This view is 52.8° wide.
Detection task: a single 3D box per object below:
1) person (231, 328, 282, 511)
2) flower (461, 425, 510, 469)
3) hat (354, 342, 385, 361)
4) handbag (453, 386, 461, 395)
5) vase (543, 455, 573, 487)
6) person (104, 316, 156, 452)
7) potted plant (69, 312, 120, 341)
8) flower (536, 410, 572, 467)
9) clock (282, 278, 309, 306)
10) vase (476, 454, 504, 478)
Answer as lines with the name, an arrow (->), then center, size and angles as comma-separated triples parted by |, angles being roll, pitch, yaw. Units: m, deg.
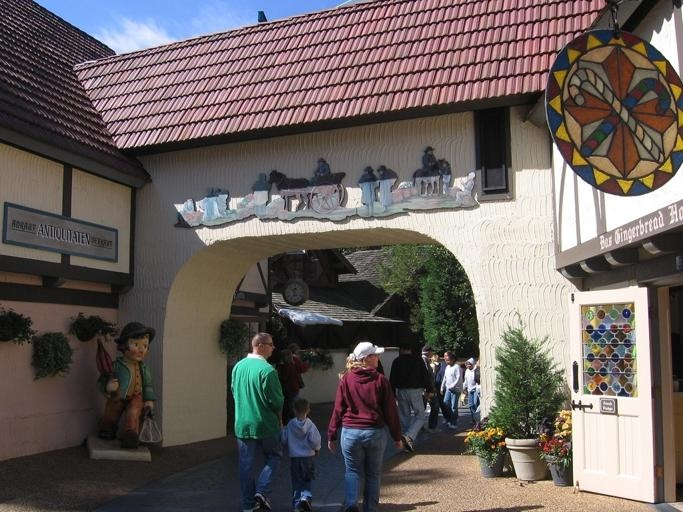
person -> -1.135, 2.181, 9.103 | 0.676, 2.312, 0.437 | 2, -5, -7
flower -> 2.313, 3.010, 11.047 | 0.563, 0.689, 0.591 | 0, -10, 2
hat -> 0.337, 1.255, 8.888 | 0.320, 0.207, 0.220 | -9, 1, -19
handbag -> 2.801, 3.239, 16.649 | 0.166, 0.165, 0.195 | -1, -6, 10
vase -> 3.294, 3.240, 10.413 | 0.349, 0.350, 0.394 | -1, -5, 10
person -> -3.856, 2.290, 12.447 | 0.917, 2.169, 0.709 | 4, -6, -22
potted plant -> -4.650, 1.291, 12.648 | 0.469, 0.379, 0.519 | 4, 4, 22
flower -> 3.333, 2.774, 10.468 | 0.596, 0.575, 0.637 | -11, -4, -22
clock -> -1.634, 1.215, 23.333 | 0.686, 0.810, 0.261 | 23, 0, 16
vase -> 2.372, 3.333, 10.946 | 0.344, 0.305, 0.351 | -13, -16, 43
